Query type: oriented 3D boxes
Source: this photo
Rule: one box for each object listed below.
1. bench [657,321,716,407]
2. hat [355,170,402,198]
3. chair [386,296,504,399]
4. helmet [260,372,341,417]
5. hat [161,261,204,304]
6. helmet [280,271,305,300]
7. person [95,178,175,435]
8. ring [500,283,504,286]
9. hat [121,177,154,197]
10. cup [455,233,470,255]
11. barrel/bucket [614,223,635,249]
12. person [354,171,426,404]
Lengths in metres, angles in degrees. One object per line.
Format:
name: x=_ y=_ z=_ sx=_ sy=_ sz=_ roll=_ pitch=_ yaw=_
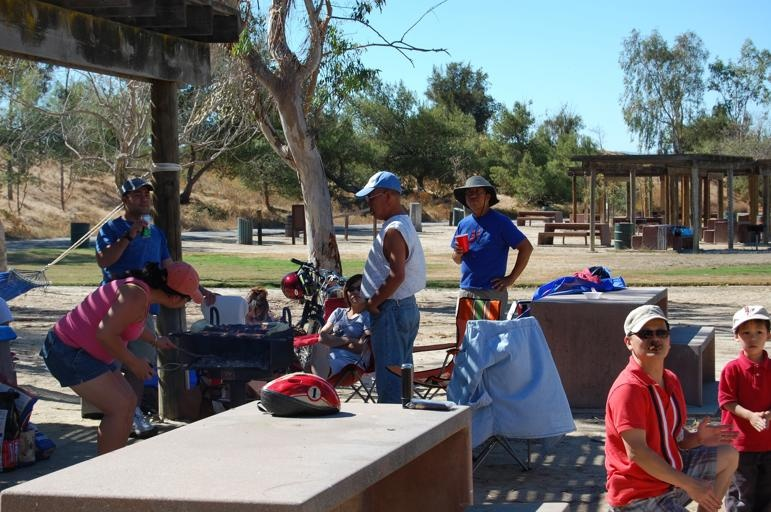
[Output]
bench: x=3.738 y=1.555 z=14.236 sx=0.663 sy=0.930 sz=1.350 roll=0 pitch=-1 yaw=19
hat: x=-0.071 y=-0.814 z=12.622 sx=0.445 sy=0.269 sz=0.321 roll=0 pitch=-2 yaw=-4
chair: x=0.646 y=1.179 z=13.328 sx=0.886 sy=1.378 sz=0.776 roll=1 pitch=5 yaw=-10
helmet: x=-0.831 y=1.261 z=10.800 sx=0.543 sy=0.332 sz=0.413 roll=-3 pitch=0 yaw=-8
hat: x=-2.085 y=0.239 z=11.662 sx=0.461 sy=0.251 sz=0.321 roll=-8 pitch=47 yaw=-41
helmet: x=-1.241 y=0.446 z=15.440 sx=0.329 sy=0.392 sz=0.293 roll=4 pitch=25 yaw=-1
person: x=-2.794 y=0.571 z=13.199 sx=0.937 sy=2.897 sz=0.816 roll=-6 pitch=8 yaw=-43
ring: x=1.413 y=0.363 z=13.909 sx=0.046 sy=0.047 sz=0.031 roll=0 pitch=2 yaw=9
hat: x=-2.889 y=-0.764 z=12.983 sx=0.311 sy=0.176 sz=0.233 roll=-17 pitch=0 yaw=17
cup: x=0.933 y=-0.135 z=14.051 sx=0.181 sy=0.241 sz=0.089 roll=-2 pitch=3 yaw=-31
barrel/bucket: x=7.565 y=-0.614 z=36.567 sx=0.674 sy=0.834 sz=0.732 roll=0 pitch=1 yaw=0
person: x=0.062 y=0.345 z=12.520 sx=0.717 sy=2.507 sz=0.472 roll=0 pitch=2 yaw=-1
